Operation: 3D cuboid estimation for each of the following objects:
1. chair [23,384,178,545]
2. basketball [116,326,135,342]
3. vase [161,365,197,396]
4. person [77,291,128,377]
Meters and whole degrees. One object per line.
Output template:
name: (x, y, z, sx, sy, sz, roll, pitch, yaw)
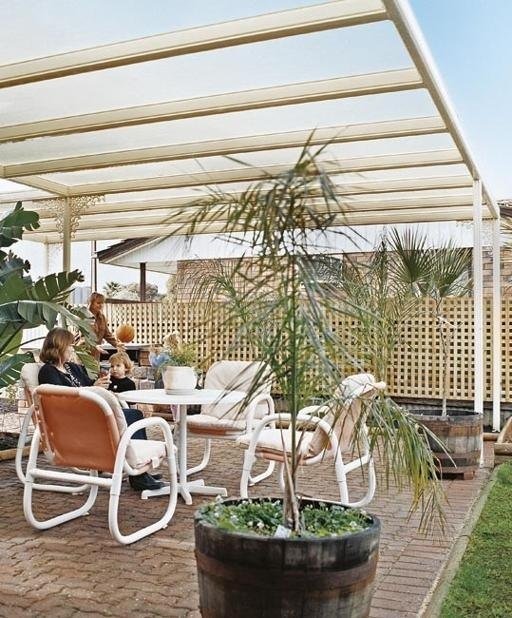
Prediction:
chair: (-1.235, 1.136, 4.436, 0.937, 1.519, 1.054, 14, 18, 19)
basketball: (-1.742, 0.335, 7.362, 0.234, 0.252, 0.216, -16, -17, 38)
vase: (-0.567, 0.526, 4.012, 0.222, 0.156, 0.209, 4, -6, -34)
person: (-2.150, 0.610, 7.413, 0.610, 1.642, 0.493, 3, 11, -18)
